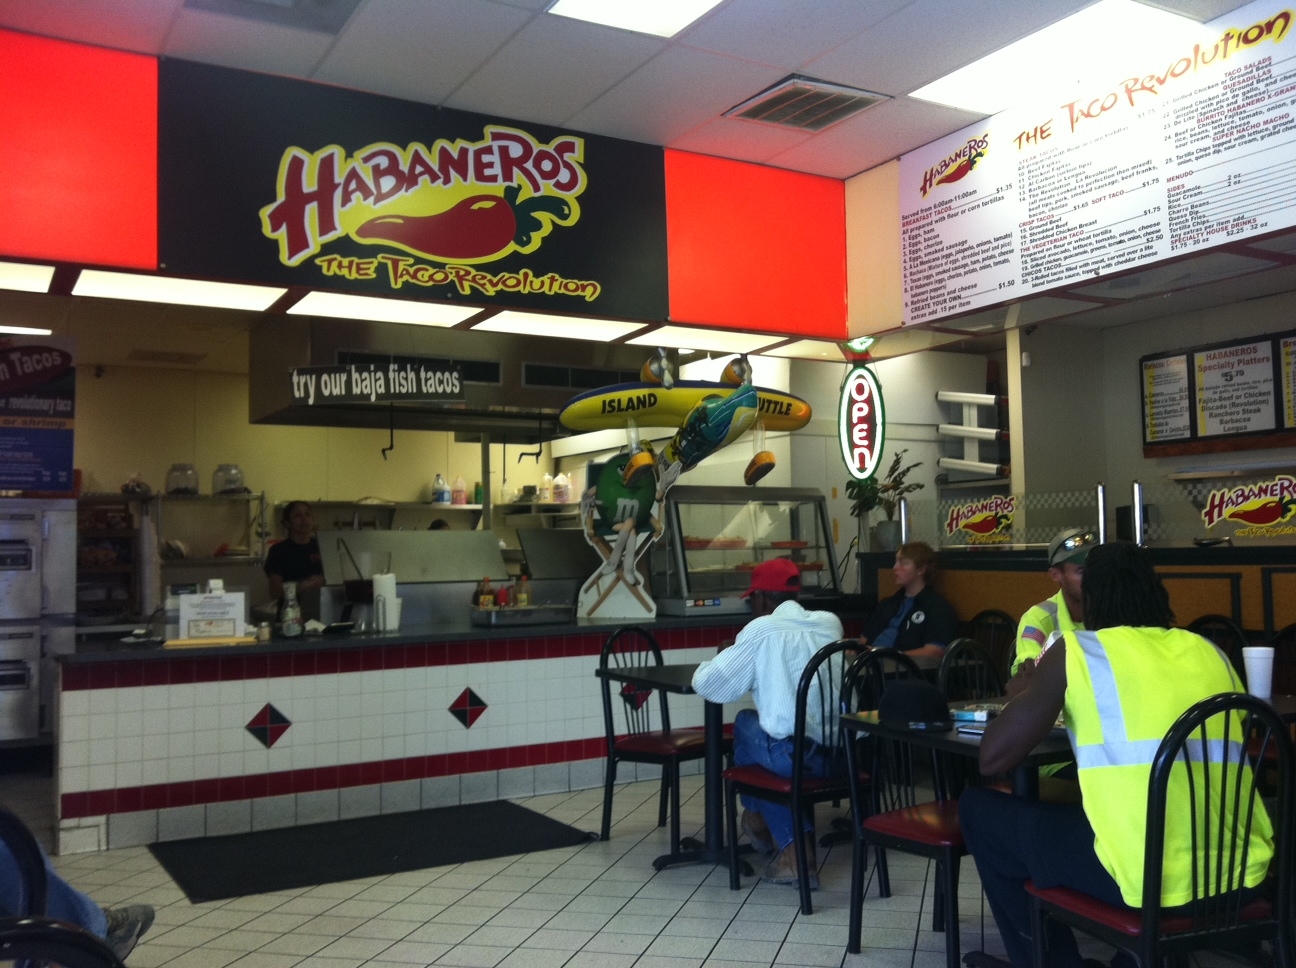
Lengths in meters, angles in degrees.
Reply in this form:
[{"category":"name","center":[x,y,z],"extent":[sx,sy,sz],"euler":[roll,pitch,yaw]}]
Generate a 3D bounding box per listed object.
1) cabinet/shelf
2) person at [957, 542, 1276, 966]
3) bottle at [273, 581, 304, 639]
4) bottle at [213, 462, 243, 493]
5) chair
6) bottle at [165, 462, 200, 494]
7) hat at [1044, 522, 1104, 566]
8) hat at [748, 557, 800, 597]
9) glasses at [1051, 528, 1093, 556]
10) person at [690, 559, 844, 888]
[{"category":"cabinet/shelf","center":[-4.004,0.621,9.345],"extent":[1.142,1.061,0.357],"euler":[1,-6,-40]},{"category":"person","center":[1.463,0.942,3.602],"extent":[0.941,1.491,0.418],"euler":[0,1,28]},{"category":"bottle","center":[-2.026,0.697,6.353],"extent":[0.123,0.299,0.345],"euler":[-1,2,-18]},{"category":"bottle","center":[-3.989,-0.070,10.616],"extent":[0.265,0.282,0.289],"euler":[3,-4,-40]},{"category":"chair","center":[1.129,1.225,4.354],"extent":[1.451,0.764,1.417],"euler":[2,-4,-37]},{"category":"bottle","center":[-4.370,-0.063,10.512],"extent":[0.284,0.266,0.280],"euler":[1,-5,-6]},{"category":"hat","center":[2.056,0.282,5.406],"extent":[0.196,0.141,0.258],"euler":[-14,-22,-21]},{"category":"hat","center":[0.577,0.444,5.367],"extent":[0.166,0.118,0.233],"euler":[-1,1,-22]},{"category":"glasses","center":[2.097,0.287,5.543],"extent":[0.144,0.087,0.176],"euler":[-14,-18,-29]},{"category":"person","center":[0.564,1.184,5.071],"extent":[0.657,1.273,0.605],"euler":[0,1,19]}]
